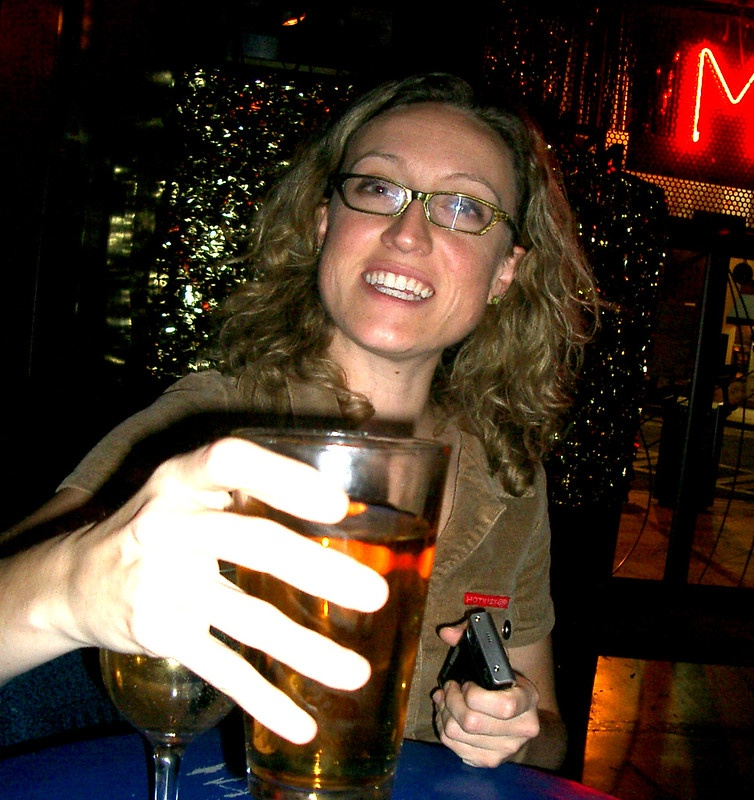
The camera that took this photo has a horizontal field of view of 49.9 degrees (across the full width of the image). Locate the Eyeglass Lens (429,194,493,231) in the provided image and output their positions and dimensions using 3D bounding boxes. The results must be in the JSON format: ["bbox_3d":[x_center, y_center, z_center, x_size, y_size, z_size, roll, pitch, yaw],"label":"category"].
[{"bbox_3d":[0.173,-0.392,1.686,0.095,0.030,0.096,10,1,38],"label":"Eyeglass Lens"}]

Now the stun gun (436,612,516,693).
[{"bbox_3d":[0.143,0.383,1.225,0.057,0.122,0.227,-14,-25,-14],"label":"stun gun"}]
